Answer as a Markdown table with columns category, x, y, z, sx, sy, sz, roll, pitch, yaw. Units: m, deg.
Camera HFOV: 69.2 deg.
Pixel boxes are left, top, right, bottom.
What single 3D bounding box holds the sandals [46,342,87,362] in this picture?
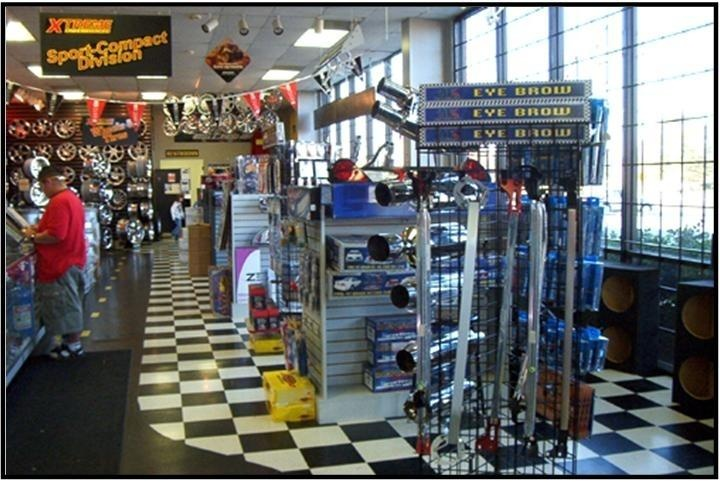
| category | x | y | z | sx | sy | sz | roll | pitch | yaw |
| --- | --- | --- | --- | --- | --- | --- | --- | --- | --- |
| sandals | -3.223 | 1.222 | 5.741 | 0.380 | 0.226 | 0.135 | 8 | -3 | -25 |

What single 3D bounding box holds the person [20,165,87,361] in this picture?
| category | x | y | z | sx | sy | sz | roll | pitch | yaw |
| --- | --- | --- | --- | --- | --- | --- | --- | --- | --- |
| person | -3.252 | 0.250 | 5.575 | 0.545 | 2.093 | 0.420 | -2 | 7 | -23 |

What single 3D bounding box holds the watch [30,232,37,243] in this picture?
| category | x | y | z | sx | sy | sz | roll | pitch | yaw |
| --- | --- | --- | --- | --- | --- | --- | --- | --- | --- |
| watch | -3.363 | -0.038 | 5.363 | 0.068 | 0.100 | 0.092 | -2 | -2 | -30 |
